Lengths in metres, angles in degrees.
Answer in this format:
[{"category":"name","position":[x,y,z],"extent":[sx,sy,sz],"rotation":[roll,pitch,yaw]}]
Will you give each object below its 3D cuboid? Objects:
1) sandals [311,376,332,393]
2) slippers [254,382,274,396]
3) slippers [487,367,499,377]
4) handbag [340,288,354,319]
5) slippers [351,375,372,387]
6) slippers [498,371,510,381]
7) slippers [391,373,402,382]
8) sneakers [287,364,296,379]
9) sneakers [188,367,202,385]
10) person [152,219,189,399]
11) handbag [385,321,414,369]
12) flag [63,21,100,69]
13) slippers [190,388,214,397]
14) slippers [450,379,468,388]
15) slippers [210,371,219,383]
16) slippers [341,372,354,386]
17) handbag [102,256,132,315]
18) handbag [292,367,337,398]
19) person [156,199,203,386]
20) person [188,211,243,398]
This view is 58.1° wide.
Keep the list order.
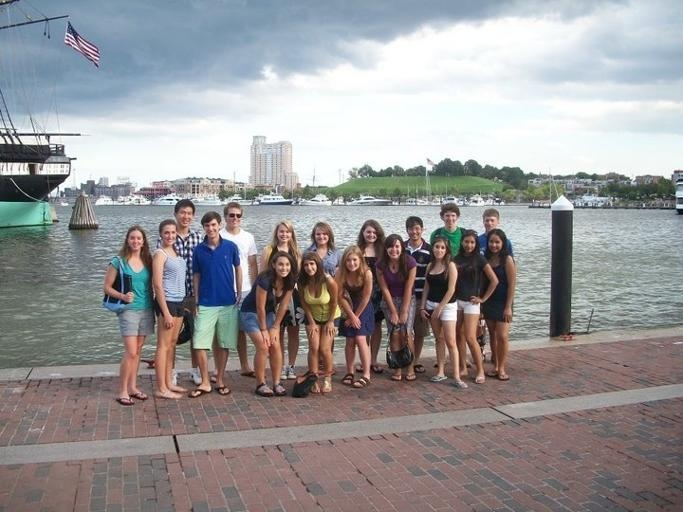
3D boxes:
[{"category":"sandals","position":[-0.259,1.668,7.836],"extent":[0.200,0.129,0.359],"rotation":[0,-7,-1]},{"category":"slippers","position":[-0.970,1.675,7.748],"extent":[0.232,0.136,0.355],"rotation":[-1,9,-11]},{"category":"slippers","position":[2.101,1.641,8.546],"extent":[0.091,0.111,0.290],"rotation":[-4,-12,18]},{"category":"handbag","position":[0.049,0.655,8.198],"extent":[0.132,0.330,0.239],"rotation":[-1,5,-19]},{"category":"slippers","position":[0.270,1.664,8.084],"extent":[0.269,0.117,0.255],"rotation":[-1,9,-9]},{"category":"slippers","position":[2.197,1.655,8.328],"extent":[0.071,0.075,0.192],"rotation":[-2,-10,0]},{"category":"slippers","position":[0.747,1.657,8.375],"extent":[0.137,0.075,0.197],"rotation":[1,9,4]},{"category":"sneakers","position":[-0.696,1.627,8.515],"extent":[0.162,0.198,0.477],"rotation":[1,-3,-6]},{"category":"sneakers","position":[-1.932,1.606,8.132],"extent":[0.097,0.118,0.265],"rotation":[-4,3,-28]},{"category":"person","position":[-2.097,0.650,7.513],"extent":[0.390,2.155,0.541],"rotation":[-2,10,-14]},{"category":"handbag","position":[0.718,1.192,8.127],"extent":[0.381,0.605,0.222],"rotation":[-10,14,-26]},{"category":"flag","position":[-13.538,-11.434,32.206],"extent":[1.800,0.170,1.827],"rotation":[24,-36,-15]},{"category":"slippers","position":[-1.732,1.700,7.581],"extent":[0.240,0.062,0.092],"rotation":[1,11,-31]},{"category":"slippers","position":[1.530,1.681,7.993],"extent":[0.085,0.046,0.155],"rotation":[-3,3,-32]},{"category":"slippers","position":[-1.694,1.648,8.195],"extent":[0.067,0.083,0.198],"rotation":[0,-3,-16]},{"category":"slippers","position":[0.082,1.675,8.236],"extent":[0.134,0.092,0.358],"rotation":[-1,-2,5]},{"category":"handbag","position":[-2.702,0.400,7.447],"extent":[0.293,0.551,0.368],"rotation":[5,-10,5]},{"category":"handbag","position":[-0.478,1.613,7.699],"extent":[0.210,0.143,0.345],"rotation":[-20,24,51]},{"category":"person","position":[-2.140,0.594,8.234],"extent":[0.835,2.836,0.735],"rotation":[-5,23,-23]},{"category":"person","position":[-1.568,0.586,7.720],"extent":[0.633,2.260,0.731],"rotation":[-1,10,-9]}]
